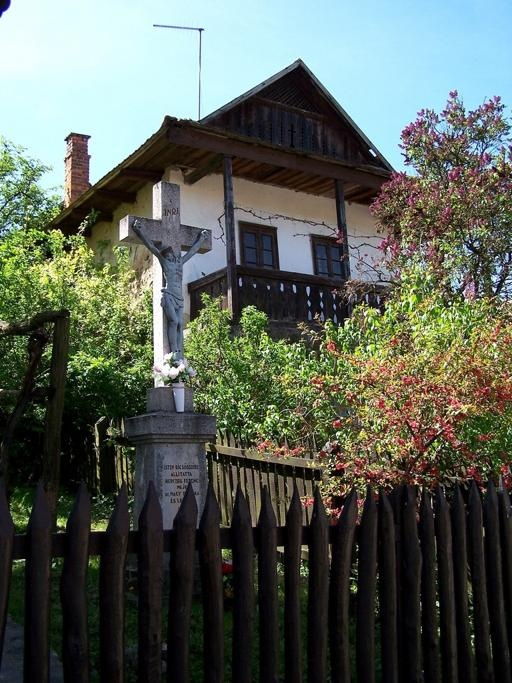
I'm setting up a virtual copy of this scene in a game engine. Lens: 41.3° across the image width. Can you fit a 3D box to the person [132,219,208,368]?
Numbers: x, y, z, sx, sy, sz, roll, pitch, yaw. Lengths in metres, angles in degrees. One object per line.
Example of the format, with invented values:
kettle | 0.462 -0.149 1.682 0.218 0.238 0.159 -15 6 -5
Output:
person | -0.814 -0.445 6.546 0.500 1.429 0.762 -5 -7 18
